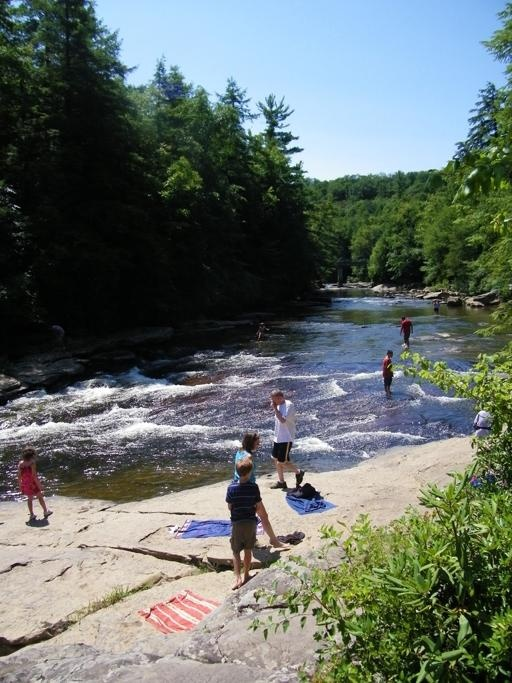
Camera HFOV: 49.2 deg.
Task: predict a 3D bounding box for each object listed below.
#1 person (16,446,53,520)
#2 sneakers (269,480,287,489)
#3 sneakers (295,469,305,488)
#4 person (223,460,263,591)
[{"bbox_3d":[-3.472,2.184,8.737,0.402,1.084,0.732,-5,4,-28],"label":"person"},{"bbox_3d":[0.364,2.282,8.968,0.315,0.141,0.105,5,3,9],"label":"sneakers"},{"bbox_3d":[0.649,2.106,8.659,0.101,0.267,0.189,6,16,28],"label":"sneakers"},{"bbox_3d":[-0.128,1.914,5.980,0.368,1.315,0.687,-3,3,-3],"label":"person"}]
